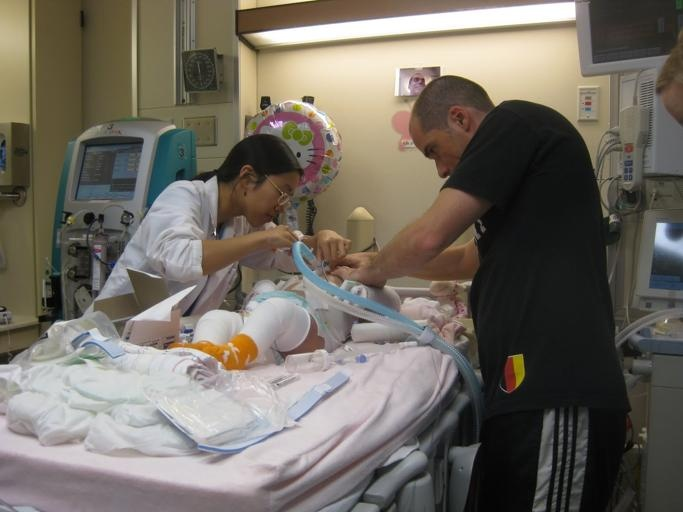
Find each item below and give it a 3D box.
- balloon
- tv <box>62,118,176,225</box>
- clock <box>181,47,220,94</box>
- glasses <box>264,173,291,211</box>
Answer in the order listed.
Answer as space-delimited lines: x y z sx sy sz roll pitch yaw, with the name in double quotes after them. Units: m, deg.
-0.263 -0.706 3.189 0.550 0.603 0.270 24 33 7 "balloon"
-1.357 -0.376 3.260 0.590 0.921 0.472 0 -4 4 "tv"
-0.920 -1.197 3.517 0.250 0.287 0.261 2 9 19 "clock"
-0.268 -0.281 2.288 0.109 0.033 0.106 51 4 19 "glasses"
